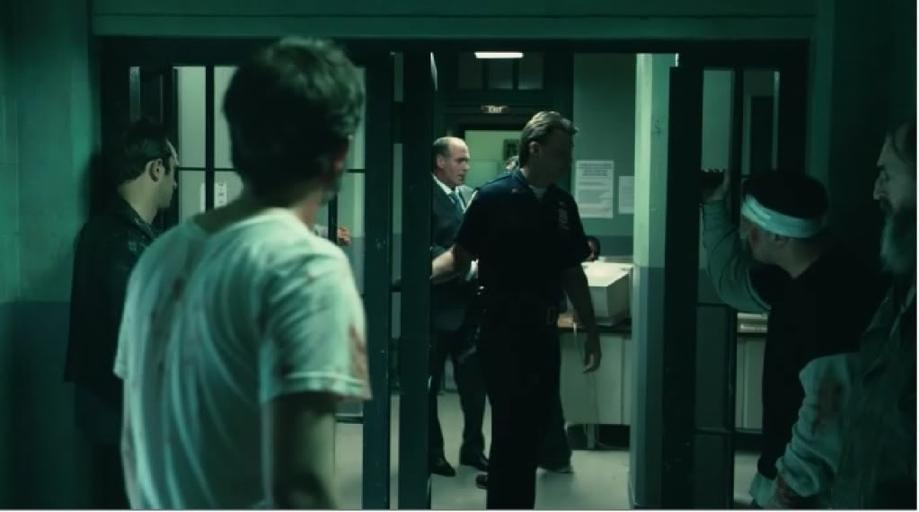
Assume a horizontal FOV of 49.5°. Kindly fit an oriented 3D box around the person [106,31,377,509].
[{"bbox_3d":[-0.961,0.154,4.374,1.080,2.145,0.564,-1,4,-2],"label":"person"}]

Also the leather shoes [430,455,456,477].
[{"bbox_3d":[-0.089,1.051,4.971,0.182,0.121,0.059,1,7,-6],"label":"leather shoes"}]

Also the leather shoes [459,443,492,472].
[{"bbox_3d":[0.072,1.005,5.004,0.223,0.148,0.075,6,12,-1],"label":"leather shoes"}]
